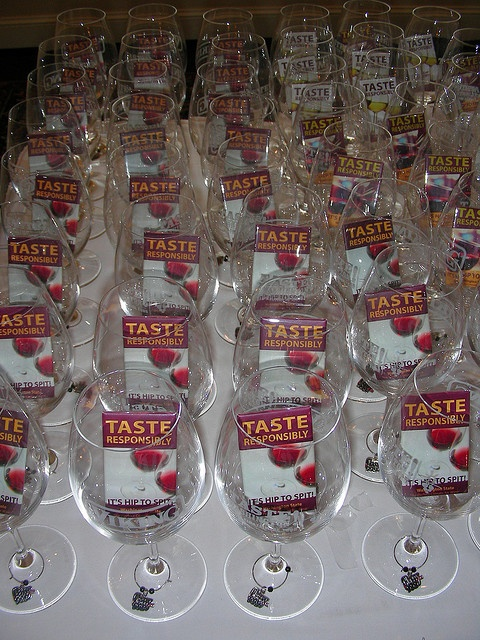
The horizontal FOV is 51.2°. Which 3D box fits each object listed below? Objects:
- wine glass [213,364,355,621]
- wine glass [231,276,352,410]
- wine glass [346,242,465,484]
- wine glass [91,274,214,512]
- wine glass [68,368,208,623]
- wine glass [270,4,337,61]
[{"bbox_3d":[0.042,0.200,0.570,0.124,0.273,0.129,-12,21,-27],"label":"wine glass"},{"bbox_3d":[0.094,0.016,0.758,0.175,0.219,0.161,13,43,12],"label":"wine glass"},{"bbox_3d":[0.229,0.055,0.685,0.138,0.327,0.150,-12,49,-3],"label":"wine glass"},{"bbox_3d":[-0.105,0.089,0.598,0.124,0.296,0.136,19,52,13],"label":"wine glass"},{"bbox_3d":[-0.107,0.191,0.589,0.133,0.281,0.181,2,19,11],"label":"wine glass"},{"bbox_3d":[0.203,-0.978,1.725,0.222,0.213,0.228,-10,38,-12],"label":"wine glass"}]
